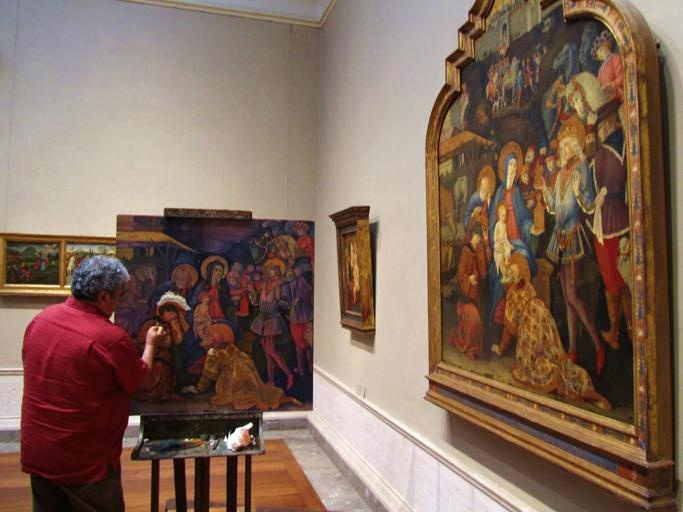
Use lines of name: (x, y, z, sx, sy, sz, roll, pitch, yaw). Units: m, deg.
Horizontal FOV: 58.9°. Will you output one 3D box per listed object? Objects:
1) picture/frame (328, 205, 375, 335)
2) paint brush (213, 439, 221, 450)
picture/frame: (0.143, 0.171, 7.338, 0.342, 2.048, 1.502, 1, -7, -14)
paint brush: (-1.114, 1.679, 5.410, 0.038, 0.050, 0.055, 9, 42, 2)
